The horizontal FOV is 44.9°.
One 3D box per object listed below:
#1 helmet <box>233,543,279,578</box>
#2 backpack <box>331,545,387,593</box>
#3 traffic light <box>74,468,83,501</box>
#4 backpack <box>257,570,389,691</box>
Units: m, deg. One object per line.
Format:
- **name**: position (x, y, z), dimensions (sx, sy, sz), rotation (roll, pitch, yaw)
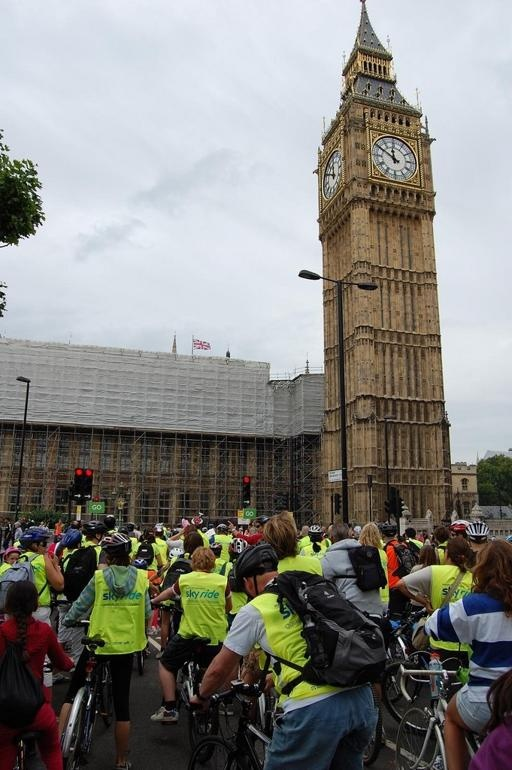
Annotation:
- **helmet**: position (-0.005, 0.898, 3.154), dimensions (0.159, 0.186, 0.197), rotation (15, -26, -38)
- **backpack**: position (0.961, 1.582, 5.371), dimensions (0.314, 0.448, 0.448), rotation (-1, -25, -22)
- **traffic light**: position (-6.394, 3.602, 22.183), dimensions (0.338, 1.111, 1.854), rotation (3, -11, -17)
- **backpack**: position (0.349, 1.072, 2.764), dimensions (0.527, 0.520, 0.414), rotation (-30, -24, 30)
